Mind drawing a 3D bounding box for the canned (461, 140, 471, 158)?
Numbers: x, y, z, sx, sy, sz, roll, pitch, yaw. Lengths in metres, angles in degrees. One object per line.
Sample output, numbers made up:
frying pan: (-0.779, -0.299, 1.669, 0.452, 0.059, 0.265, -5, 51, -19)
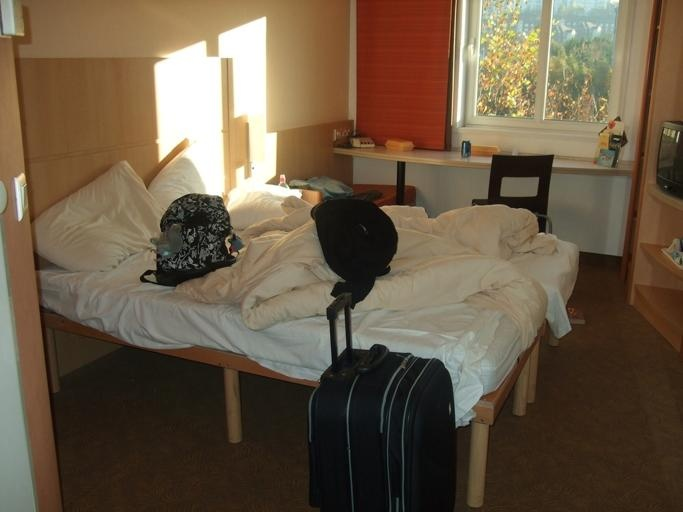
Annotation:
canned: (1.121, -0.967, 4.915, 0.091, 0.130, 0.261, 4, 19, 11)

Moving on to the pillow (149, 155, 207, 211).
pillow: (-1.067, -0.412, 3.527, 0.102, 0.353, 0.360, -14, 21, 46)

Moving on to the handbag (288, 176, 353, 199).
handbag: (-0.163, -0.583, 4.589, 0.346, 0.116, 0.279, 8, 14, 14)
